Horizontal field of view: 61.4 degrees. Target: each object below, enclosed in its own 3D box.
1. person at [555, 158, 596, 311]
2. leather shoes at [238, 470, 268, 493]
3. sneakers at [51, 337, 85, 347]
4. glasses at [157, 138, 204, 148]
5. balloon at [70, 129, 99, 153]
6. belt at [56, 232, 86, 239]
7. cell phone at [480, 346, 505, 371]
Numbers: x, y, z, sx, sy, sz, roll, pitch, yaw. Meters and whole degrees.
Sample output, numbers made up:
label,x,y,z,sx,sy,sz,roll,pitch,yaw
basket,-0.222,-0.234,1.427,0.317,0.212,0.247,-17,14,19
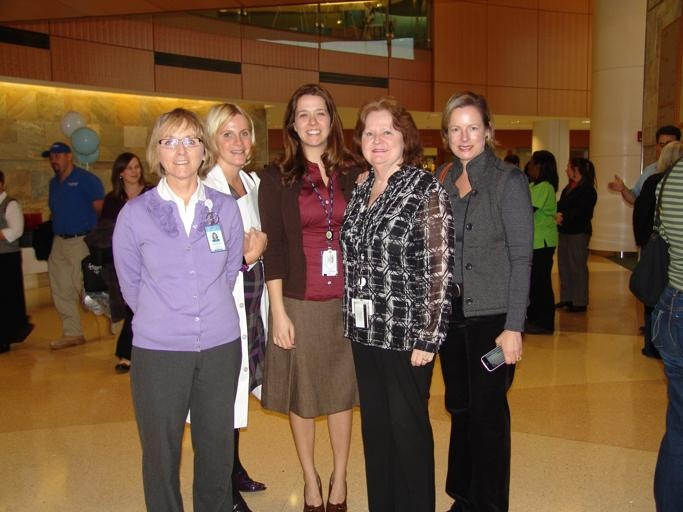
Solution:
label,x,y,z,sx,sy,sz,roll,pitch,yaw
person,3.265,-0.297,8.098,0.486,2.135,0.574,2,9,22
leather shoes,-0.615,1.617,4.147,0.276,0.143,0.095,1,1,2
sneakers,-3.300,1.011,6.953,0.351,0.164,0.128,2,3,-36
glasses,-0.924,-0.653,3.309,0.227,0.058,0.054,-5,9,-18
balloon,-4.223,-1.909,9.498,0.388,0.431,0.219,-7,-3,-25
belt,-3.276,-0.242,6.976,0.363,0.059,0.041,0,9,6
cell phone,0.910,0.616,3.478,0.083,0.154,0.016,35,21,4
